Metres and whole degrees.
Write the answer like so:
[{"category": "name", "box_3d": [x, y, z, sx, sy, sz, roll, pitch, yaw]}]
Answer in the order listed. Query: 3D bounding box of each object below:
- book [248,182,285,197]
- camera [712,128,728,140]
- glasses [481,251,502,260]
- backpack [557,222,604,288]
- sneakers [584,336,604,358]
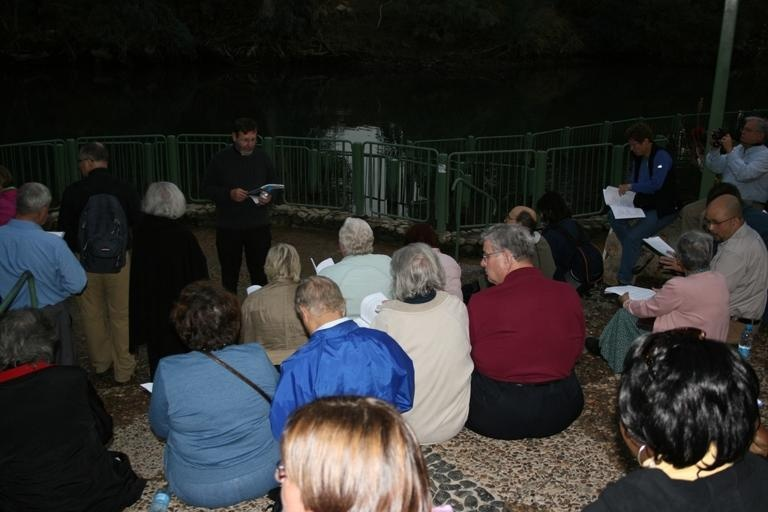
[{"category": "book", "box_3d": [-1.449, -0.851, 6.969, 0.416, 0.143, 0.577, -2, 10, 1]}, {"category": "camera", "box_3d": [4.376, -1.602, 7.173, 0.215, 0.162, 0.224, 6, 20, 21]}, {"category": "glasses", "box_3d": [0.932, -0.005, 4.809, 0.067, 0.105, 0.237, -5, 10, -18]}, {"category": "backpack", "box_3d": [2.489, 0.014, 7.007, 0.634, 0.936, 0.294, -1, 10, 6]}, {"category": "sneakers", "box_3d": [2.364, 1.008, 6.198, 0.152, 0.115, 0.270, -8, 22, 10]}]
